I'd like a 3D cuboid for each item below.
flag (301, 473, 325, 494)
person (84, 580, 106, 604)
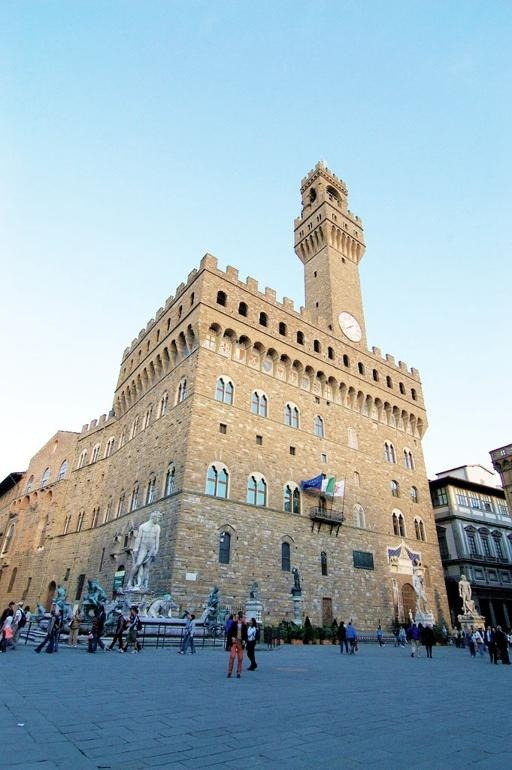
[{"bbox_3d":[2.717,4.881,23.175,1.069,0.788,1.027,-7,-26,15],"label":"flag"},{"bbox_3d":[-4.724,6.131,13.872,0.598,0.720,0.995,8,-26,-15],"label":"person"}]
